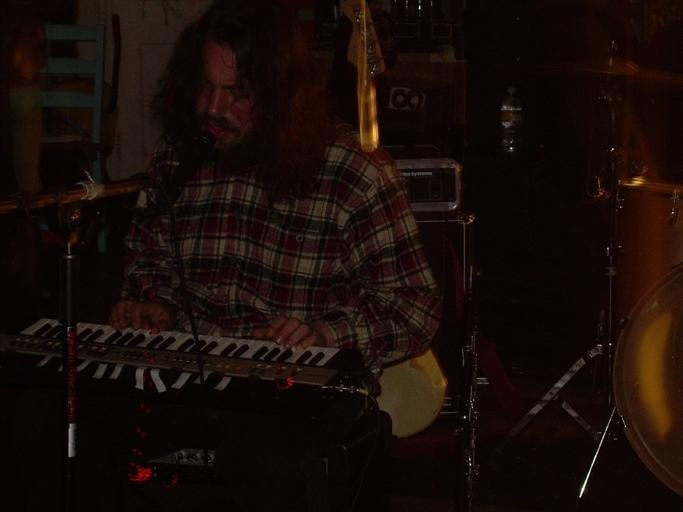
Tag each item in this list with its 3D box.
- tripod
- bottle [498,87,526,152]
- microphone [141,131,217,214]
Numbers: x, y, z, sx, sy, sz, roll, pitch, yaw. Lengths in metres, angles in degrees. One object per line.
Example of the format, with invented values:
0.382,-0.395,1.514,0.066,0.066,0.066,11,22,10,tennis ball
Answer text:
1.412,0.519,4.615,0.900,1.555,1.069,4,5,18,tripod
1.335,-1.061,5.378,0.178,0.508,0.069,2,12,15,bottle
-0.553,-0.289,2.311,0.234,0.247,0.240,-5,13,-17,microphone
